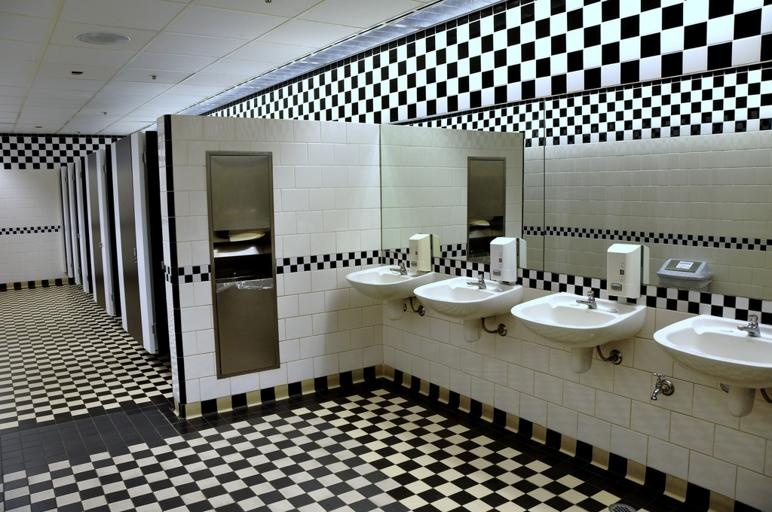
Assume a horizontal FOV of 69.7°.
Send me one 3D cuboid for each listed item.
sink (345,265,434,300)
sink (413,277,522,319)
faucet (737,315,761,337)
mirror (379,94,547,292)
[{"bbox_3d":[0.020,0.257,5.381,0.474,0.177,0.531,-8,8,-31],"label":"sink"},{"bbox_3d":[0.668,0.397,4.828,0.727,0.309,0.715,-11,17,-33],"label":"sink"},{"bbox_3d":[2.338,0.462,3.616,0.164,0.114,0.089,-3,3,-27],"label":"faucet"},{"bbox_3d":[0.611,-0.542,5.324,1.746,1.408,0.383,13,21,44],"label":"mirror"}]
